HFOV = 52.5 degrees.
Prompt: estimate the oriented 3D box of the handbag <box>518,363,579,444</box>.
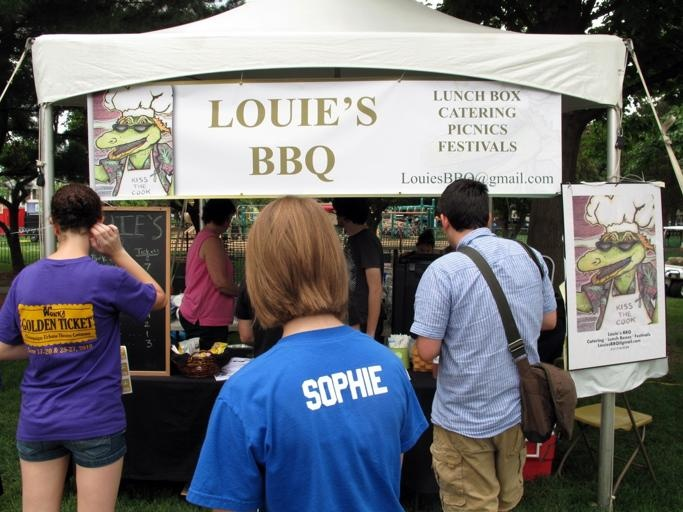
[{"bbox_3d":[1.261,0.892,4.364,0.390,0.652,0.454,0,1,14],"label":"handbag"}]
